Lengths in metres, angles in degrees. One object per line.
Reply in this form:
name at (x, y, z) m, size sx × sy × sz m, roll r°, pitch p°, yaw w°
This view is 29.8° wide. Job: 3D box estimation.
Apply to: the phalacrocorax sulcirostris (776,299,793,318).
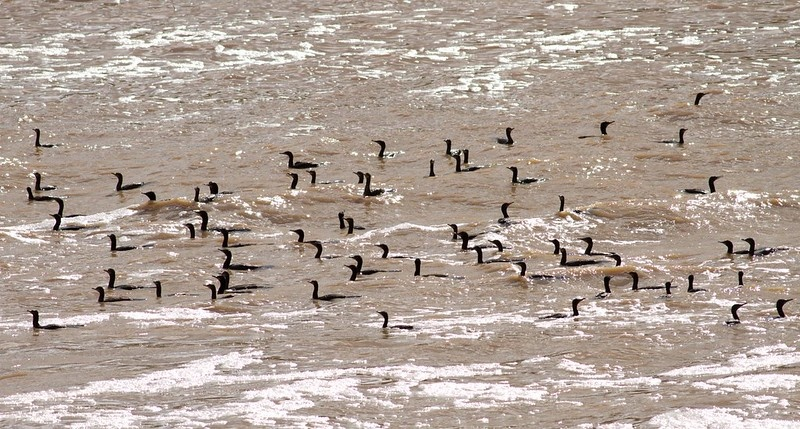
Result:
phalacrocorax sulcirostris at (15.064, 3.588, 58.854) m, size 0.526 × 0.701 × 1.018 m, roll -2°, pitch 18°, yaw 20°
